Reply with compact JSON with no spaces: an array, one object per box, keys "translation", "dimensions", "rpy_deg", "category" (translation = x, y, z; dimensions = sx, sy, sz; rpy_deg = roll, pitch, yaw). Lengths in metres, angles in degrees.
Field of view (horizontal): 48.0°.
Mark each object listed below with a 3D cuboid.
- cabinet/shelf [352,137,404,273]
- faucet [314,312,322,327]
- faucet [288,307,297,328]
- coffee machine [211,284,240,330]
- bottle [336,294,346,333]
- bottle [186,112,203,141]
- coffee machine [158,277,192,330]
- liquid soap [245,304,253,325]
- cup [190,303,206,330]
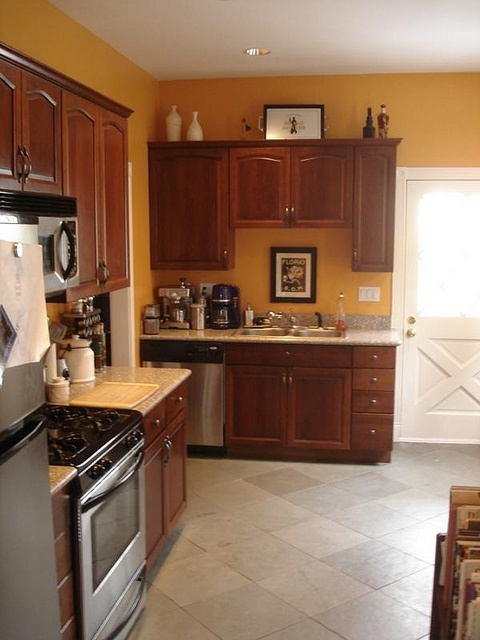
[{"translation":[1.012,-0.861,4.160],"dimensions":[0.353,1.016,0.207],"rpy_deg":[-4,16,-5],"category":"cabinet/shelf"},{"translation":[0.663,-0.002,4.483],"dimensions":[0.069,0.119,0.104],"rpy_deg":[-2,7,-15],"category":"faucet"},{"translation":[0.440,-0.018,4.517],"dimensions":[0.074,0.156,0.114],"rpy_deg":[0,7,5],"category":"faucet"},{"translation":[-0.128,-0.107,4.451],"dimensions":[0.229,0.359,0.305],"rpy_deg":[0,-1,12],"category":"coffee machine"},{"translation":[0.820,-0.056,4.364],"dimensions":[0.078,0.303,0.316],"rpy_deg":[1,7,11],"category":"bottle"},{"translation":[-0.362,-1.535,4.301],"dimensions":[0.118,0.275,0.289],"rpy_deg":[-1,7,-5],"category":"bottle"},{"translation":[-0.526,-0.147,4.425],"dimensions":[0.262,0.415,0.313],"rpy_deg":[2,5,1],"category":"coffee machine"},{"translation":[0.078,-0.038,4.533],"dimensions":[0.074,0.168,0.200],"rpy_deg":[0,7,1],"category":"liquid soap"},{"translation":[-0.340,-0.028,4.320],"dimensions":[0.128,0.212,0.116],"rpy_deg":[-1,7,-4],"category":"cup"}]
